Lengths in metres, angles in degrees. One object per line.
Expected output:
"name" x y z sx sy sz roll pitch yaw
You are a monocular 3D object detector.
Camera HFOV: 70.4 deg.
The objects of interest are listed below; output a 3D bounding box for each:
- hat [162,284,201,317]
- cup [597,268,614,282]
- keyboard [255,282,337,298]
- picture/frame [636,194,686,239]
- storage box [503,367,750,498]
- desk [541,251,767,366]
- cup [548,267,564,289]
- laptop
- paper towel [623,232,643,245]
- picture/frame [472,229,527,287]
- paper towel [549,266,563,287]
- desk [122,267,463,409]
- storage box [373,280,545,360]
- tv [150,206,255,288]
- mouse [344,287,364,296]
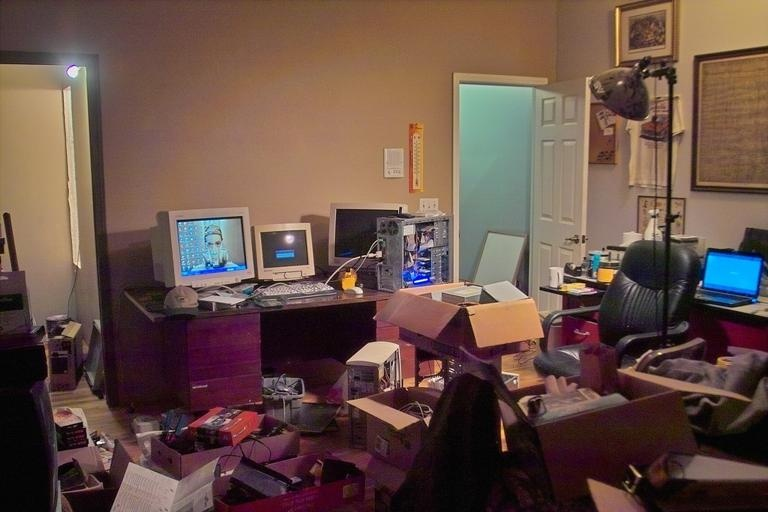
"hat" -1.456 0.317 3.905 0.239 0.175 0.275 -6 10 -20
"cup" 1.903 0.159 4.665 0.123 0.083 0.119 1 2 0
"keyboard" -0.741 0.265 4.406 0.631 0.057 0.441 -6 10 -21
"picture/frame" 2.493 -0.366 4.849 0.065 0.439 0.492 -6 11 -44
"storage box" 0.717 0.576 1.981 0.429 0.182 0.411 -10 3 -17
"desk" 2.004 0.378 3.914 0.721 1.129 0.790 3 4 -32
"cup" 1.510 0.182 4.832 0.179 0.171 0.129 2 0 0
"laptop" 2.652 0.145 4.221 0.437 0.415 0.521 -7 13 -38
"paper towel" 2.240 -0.162 4.892 0.149 0.181 0.163 0 -2 40
"picture/frame" 1.110 0.013 5.198 0.140 0.549 0.564 16 -4 -37
"paper towel" 1.526 0.186 4.845 0.171 0.163 0.124 2 0 -23
"desk" -0.717 0.744 4.514 2.088 0.959 1.014 -4 11 -19
"storage box" 0.422 0.390 3.081 0.842 0.355 0.544 3 11 32
"tv" -1.465 -0.041 4.503 0.866 0.708 0.620 -3 6 -32
"mouse" -0.231 0.284 4.394 0.162 0.064 0.146 -5 10 -12
